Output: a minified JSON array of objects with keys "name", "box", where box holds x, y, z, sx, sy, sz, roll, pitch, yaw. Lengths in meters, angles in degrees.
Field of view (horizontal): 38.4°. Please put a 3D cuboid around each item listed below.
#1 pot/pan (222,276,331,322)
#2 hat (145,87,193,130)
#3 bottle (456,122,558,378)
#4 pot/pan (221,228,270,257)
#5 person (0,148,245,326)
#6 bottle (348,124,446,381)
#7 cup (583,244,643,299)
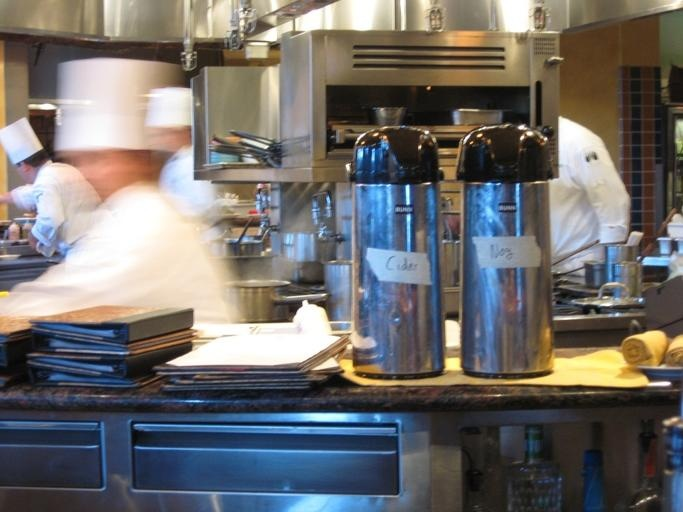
[{"name":"pot/pan","box":[-0.262,0.165,3.819,0.322,0.097,0.184,2,0,17]},{"name":"hat","box":[-0.747,-0.642,4.255,0.194,0.201,0.327,-1,4,-11]},{"name":"bottle","box":[0.444,-0.014,2.662,0.246,0.685,0.073,0,4,4]},{"name":"pot/pan","box":[-0.475,-0.065,4.881,0.158,0.119,0.210,-1,-1,45]},{"name":"person","box":[-0.907,-0.082,3.973,0.867,0.696,0.442,-1,4,-8]},{"name":"bottle","box":[0.152,-0.009,2.667,0.256,0.676,0.097,0,4,-1]},{"name":"cup","box":[1.053,0.056,3.952,0.172,0.171,0.267,-1,1,-11]}]
